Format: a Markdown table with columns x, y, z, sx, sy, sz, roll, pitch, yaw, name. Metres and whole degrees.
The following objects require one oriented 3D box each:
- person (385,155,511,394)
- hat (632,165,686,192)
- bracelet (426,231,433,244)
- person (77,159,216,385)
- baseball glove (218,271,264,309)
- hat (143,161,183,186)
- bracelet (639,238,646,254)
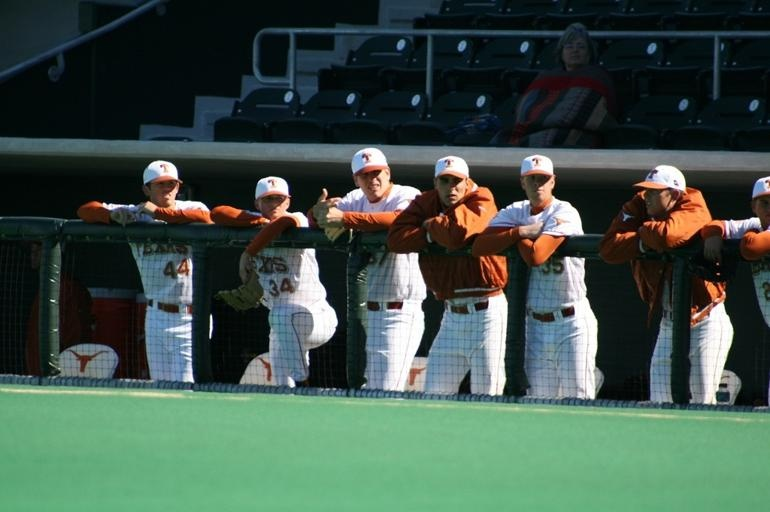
| x | y | z | sx | sy | sz | roll | pitch | yaw | name |
| --- | --- | --- | --- | --- | --- | --- | --- | --- | --- |
| 0.557 | 0.131 | 18.562 | 0.948 | 2.038 | 0.463 | 2 | -3 | 1 | person |
| 2.304 | -0.685 | 18.559 | 0.336 | 0.164 | 0.248 | 3 | -1 | -1 | hat |
| 0.361 | -0.186 | 18.428 | 0.029 | 0.081 | 0.068 | -14 | 11 | -24 | bracelet |
| -1.986 | 0.078 | 19.061 | 0.952 | 1.948 | 0.885 | 2 | -3 | -5 | person |
| -1.225 | 0.270 | 18.822 | 0.376 | 0.327 | 0.206 | 2 | -3 | -5 | baseball glove |
| -1.936 | -0.772 | 19.303 | 0.219 | 0.169 | 0.292 | -2 | 0 | -32 | hat |
| 2.097 | -0.100 | 18.201 | 0.064 | 0.085 | 0.074 | 9 | 18 | 22 | bracelet |
